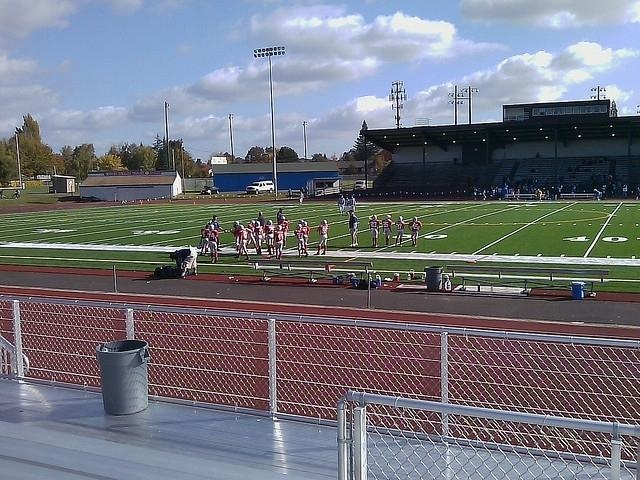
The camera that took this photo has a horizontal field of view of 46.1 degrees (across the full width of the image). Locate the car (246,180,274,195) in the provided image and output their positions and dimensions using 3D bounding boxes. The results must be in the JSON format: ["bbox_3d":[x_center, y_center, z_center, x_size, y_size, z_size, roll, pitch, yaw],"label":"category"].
[{"bbox_3d":[-6.302,-5.499,78.223,1.543,1.127,2.885,-2,-1,40],"label":"car"}]

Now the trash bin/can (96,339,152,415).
[{"bbox_3d":[-2.661,1.876,10.142,0.873,0.817,0.713,5,13,19],"label":"trash bin/can"}]

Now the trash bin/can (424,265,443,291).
[{"bbox_3d":[2.907,1.017,19.357,0.416,0.614,0.383,-1,5,7],"label":"trash bin/can"}]

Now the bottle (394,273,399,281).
[{"bbox_3d":[2.124,1.033,20.756,0.168,0.175,0.165,1,1,10],"label":"bottle"}]

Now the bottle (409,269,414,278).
[{"bbox_3d":[2.538,0.976,20.958,0.149,0.216,0.375,-1,5,5],"label":"bottle"}]

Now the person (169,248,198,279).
[{"bbox_3d":[-3.981,0.661,22.304,0.582,0.860,0.822,0,5,17],"label":"person"}]

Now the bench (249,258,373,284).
[{"bbox_3d":[-0.270,0.848,22.114,4.348,0.521,2.344,2,6,37],"label":"bench"}]

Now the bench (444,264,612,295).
[{"bbox_3d":[5.367,0.940,20.157,3.882,0.592,2.852,0,5,17],"label":"bench"}]

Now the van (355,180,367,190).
[{"bbox_3d":[4.317,-5.986,81.303,1.363,1.180,2.414,0,1,11],"label":"van"}]
